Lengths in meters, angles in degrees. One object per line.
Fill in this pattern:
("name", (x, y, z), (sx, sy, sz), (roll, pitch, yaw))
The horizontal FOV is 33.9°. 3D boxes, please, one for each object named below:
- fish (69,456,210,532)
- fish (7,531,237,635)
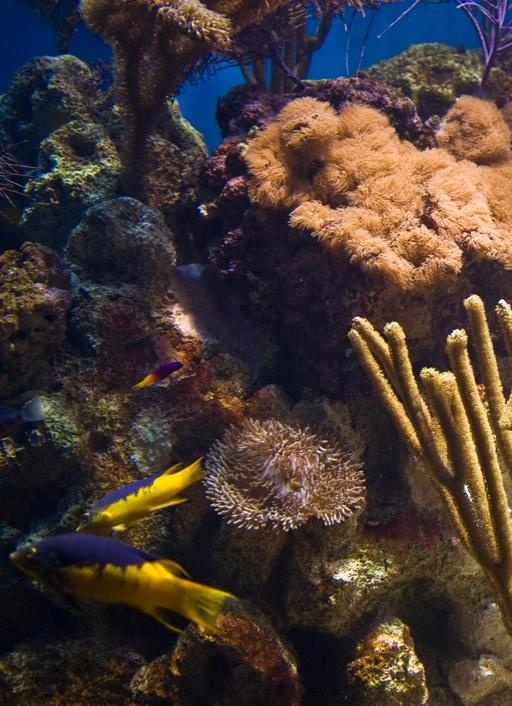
("fish", (-0.661, 0.800, 4.697), (0.267, 0.903, 0.202), (65, 11, 17))
("fish", (-0.666, 1.048, 3.862), (1.135, 0.329, 0.240), (6, 4, 28))
